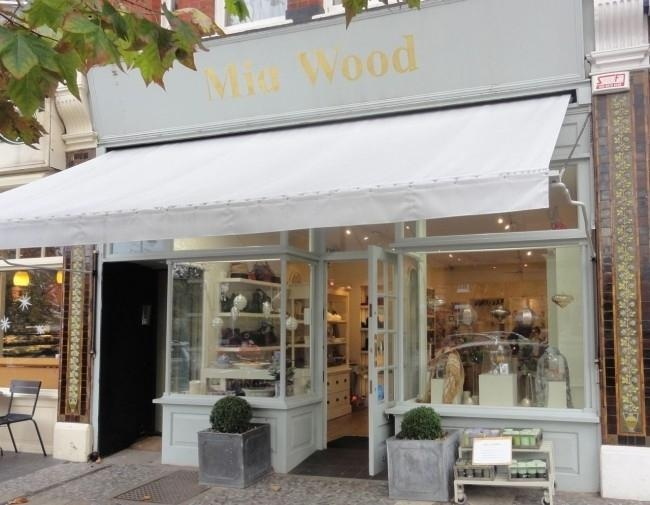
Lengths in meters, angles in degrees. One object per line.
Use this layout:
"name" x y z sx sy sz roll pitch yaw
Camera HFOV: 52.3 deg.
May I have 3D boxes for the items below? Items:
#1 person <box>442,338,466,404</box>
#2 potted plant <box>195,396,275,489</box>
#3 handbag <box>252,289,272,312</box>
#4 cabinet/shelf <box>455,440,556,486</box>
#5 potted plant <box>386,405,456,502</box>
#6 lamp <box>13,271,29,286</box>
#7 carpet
"person" 1.575 1.479 8.211 0.260 0.761 0.128 -1 -5 10
"potted plant" -1.074 2.357 8.506 0.978 1.362 0.937 -1 -3 23
"handbag" -0.866 0.659 9.047 0.224 0.429 0.228 -6 -14 20
"cabinet/shelf" 1.966 2.363 7.340 1.046 0.466 0.549 -2 -5 17
"potted plant" 1.112 2.315 7.902 0.916 1.327 0.865 0 -3 16
"lamp" -4.669 0.414 10.196 0.218 0.216 0.216 -2 3 -28
"carpet" 0.349 2.917 9.156 1.311 0.017 2.134 4 -9 5
